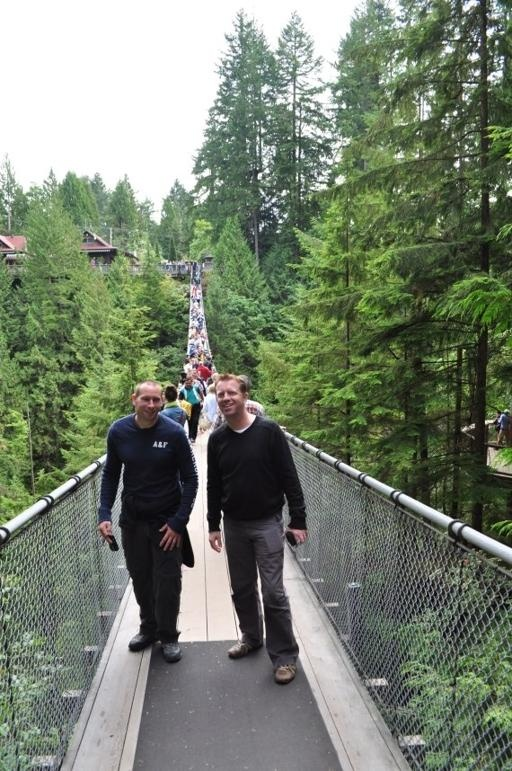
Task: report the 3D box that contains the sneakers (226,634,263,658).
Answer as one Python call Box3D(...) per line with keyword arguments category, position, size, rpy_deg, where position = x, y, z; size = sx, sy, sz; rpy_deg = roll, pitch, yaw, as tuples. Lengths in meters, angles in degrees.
Box3D(category="sneakers", position=(-0.058, 1.306, 2.770), size=(0.173, 0.079, 0.064), rpy_deg=(9, -11, -42))

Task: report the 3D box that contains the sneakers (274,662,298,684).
Box3D(category="sneakers", position=(0.132, 1.291, 2.483), size=(0.105, 0.075, 0.129), rpy_deg=(-3, -1, 2))

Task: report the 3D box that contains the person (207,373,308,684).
Box3D(category="person", position=(-0.023, 0.640, 2.668), size=(0.400, 1.310, 0.528), rpy_deg=(-2, -1, -42))

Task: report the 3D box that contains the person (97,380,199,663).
Box3D(category="person", position=(-0.534, 0.665, 2.700), size=(0.504, 1.145, 0.322), rpy_deg=(-3, -1, 0))
